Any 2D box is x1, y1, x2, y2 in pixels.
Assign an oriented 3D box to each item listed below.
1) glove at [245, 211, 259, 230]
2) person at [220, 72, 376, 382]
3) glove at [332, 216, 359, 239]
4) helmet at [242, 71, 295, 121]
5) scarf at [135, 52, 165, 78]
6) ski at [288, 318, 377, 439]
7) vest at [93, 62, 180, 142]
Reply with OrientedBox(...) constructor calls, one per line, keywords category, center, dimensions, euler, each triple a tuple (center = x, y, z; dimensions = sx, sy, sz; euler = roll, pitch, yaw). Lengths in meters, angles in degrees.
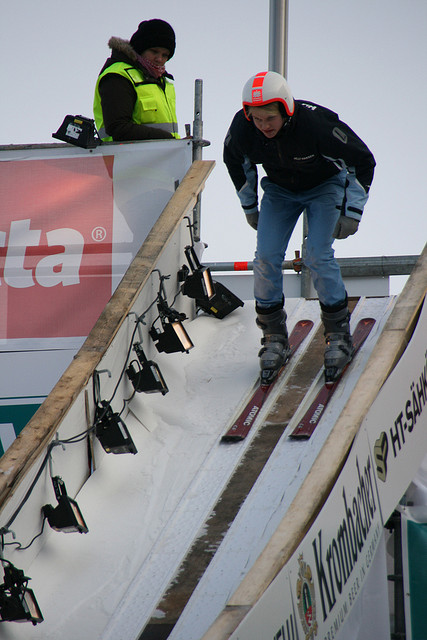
OrientedBox(category="glove", center=(0.215, -0.530, 7.203), dimensions=(0.067, 0.090, 0.038), euler=(-3, 3, -1))
OrientedBox(category="person", center=(0.397, -0.467, 6.923), dimensions=(0.746, 1.592, 0.740), euler=(3, 15, 21))
OrientedBox(category="glove", center=(0.678, -0.462, 6.874), dimensions=(0.097, 0.134, 0.052), euler=(14, 4, -1))
OrientedBox(category="helmet", center=(0.283, -1.116, 6.658), dimensions=(0.234, 0.243, 0.310), euler=(-4, 24, 20))
OrientedBox(category="scarf", center=(-0.365, -1.449, 7.765), dimensions=(0.134, 0.064, 0.108), euler=(45, 19, 7))
OrientedBox(category="ski", center=(0.562, 0.333, 6.497), dimensions=(0.113, 0.058, 1.143), euler=(4, -29, -9))
OrientedBox(category="vest", center=(-0.450, -1.273, 7.843), dimensions=(0.501, 0.455, 0.428), euler=(2, 17, -3))
